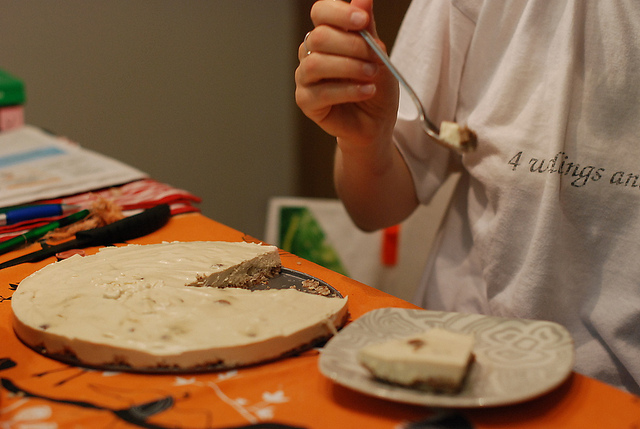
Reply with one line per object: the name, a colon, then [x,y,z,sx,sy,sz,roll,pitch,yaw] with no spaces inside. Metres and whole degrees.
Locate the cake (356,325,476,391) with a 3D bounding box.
cake: [0.122,0.180,0.744,0.146,0.046,0.076,4,18,4]

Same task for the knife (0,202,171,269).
knife: [-0.396,0.038,0.982,0.222,0.026,0.033,-20,53,-29]

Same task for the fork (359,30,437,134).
fork: [0.142,-0.231,1.037,0.036,0.238,0.041,-33,-3,-13]

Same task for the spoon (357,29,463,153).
spoon: [0.167,-0.223,1.053,0.052,0.305,0.044,-39,32,-6]
